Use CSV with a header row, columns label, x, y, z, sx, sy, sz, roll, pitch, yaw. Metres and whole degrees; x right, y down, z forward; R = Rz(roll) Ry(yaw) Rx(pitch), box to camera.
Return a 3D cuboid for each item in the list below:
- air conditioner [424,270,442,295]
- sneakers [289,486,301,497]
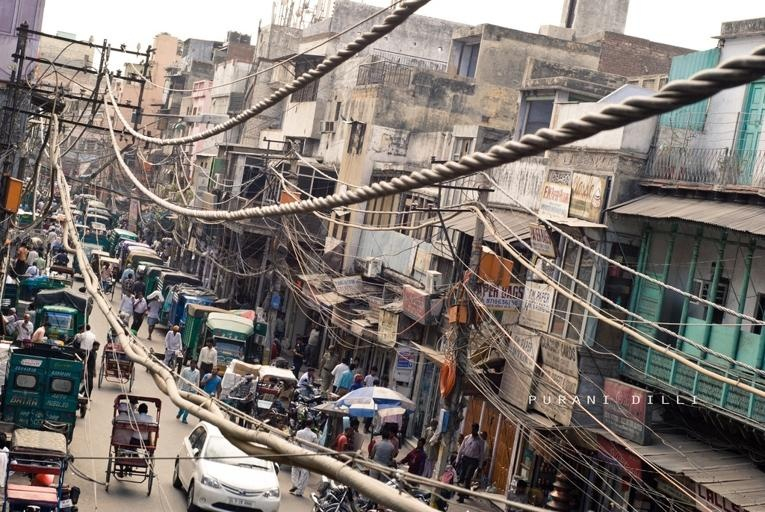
label,x,y,z,sx,sy,sz,roll,pitch,yaw
air conditioner,1.903,0.954,46.593,0.599,1.019,0.758,1,0,9
sneakers,-2.775,7.540,40.701,0.456,0.268,0.179,27,1,14
